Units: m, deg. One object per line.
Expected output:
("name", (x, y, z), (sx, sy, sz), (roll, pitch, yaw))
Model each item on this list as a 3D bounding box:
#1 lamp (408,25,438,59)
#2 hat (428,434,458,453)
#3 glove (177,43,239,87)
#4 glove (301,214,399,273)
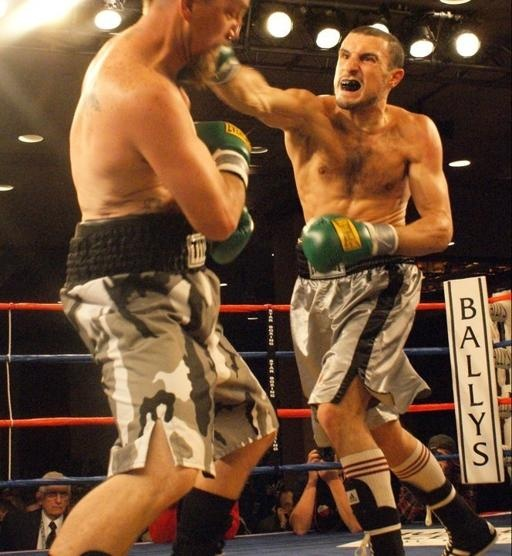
("lamp", (1.120, -1.568, 4.979), (0.188, 0.193, 0.215), (5, -36, 6))
("hat", (1.053, 0.931, 4.125), (0.124, 0.097, 0.147), (1, -23, 8))
("glove", (-0.090, -0.478, 1.693), (0.130, 0.043, 0.100), (-35, 28, -32))
("glove", (0.269, -0.119, 2.261), (0.366, 0.182, 0.131), (-3, -37, -26))
